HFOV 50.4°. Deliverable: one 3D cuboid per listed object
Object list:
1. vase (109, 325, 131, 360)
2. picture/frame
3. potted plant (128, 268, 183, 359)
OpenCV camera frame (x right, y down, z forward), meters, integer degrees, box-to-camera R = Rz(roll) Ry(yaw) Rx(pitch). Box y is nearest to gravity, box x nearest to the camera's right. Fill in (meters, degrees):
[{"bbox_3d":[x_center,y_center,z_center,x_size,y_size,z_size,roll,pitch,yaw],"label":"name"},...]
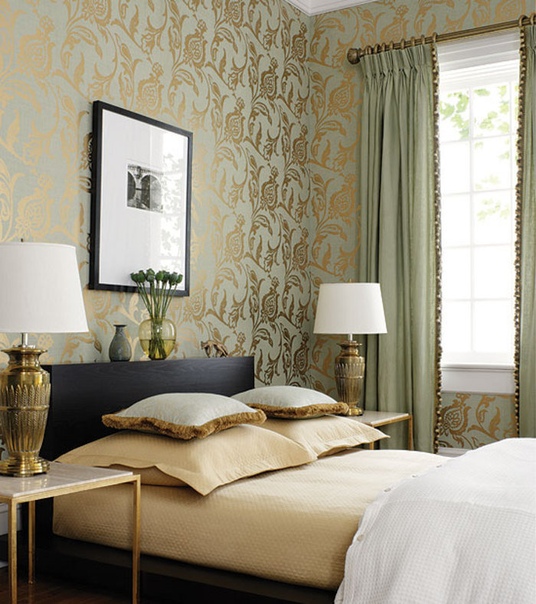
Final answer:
[{"bbox_3d":[-0.593,0.163,2.294,0.093,0.142,0.092,2,5,5],"label":"vase"},{"bbox_3d":[-0.556,-0.443,2.570,0.124,0.713,0.613,1,-1,25],"label":"picture/frame"},{"bbox_3d":[-0.473,0.051,2.545,0.176,0.328,0.312,1,-1,24],"label":"potted plant"}]
